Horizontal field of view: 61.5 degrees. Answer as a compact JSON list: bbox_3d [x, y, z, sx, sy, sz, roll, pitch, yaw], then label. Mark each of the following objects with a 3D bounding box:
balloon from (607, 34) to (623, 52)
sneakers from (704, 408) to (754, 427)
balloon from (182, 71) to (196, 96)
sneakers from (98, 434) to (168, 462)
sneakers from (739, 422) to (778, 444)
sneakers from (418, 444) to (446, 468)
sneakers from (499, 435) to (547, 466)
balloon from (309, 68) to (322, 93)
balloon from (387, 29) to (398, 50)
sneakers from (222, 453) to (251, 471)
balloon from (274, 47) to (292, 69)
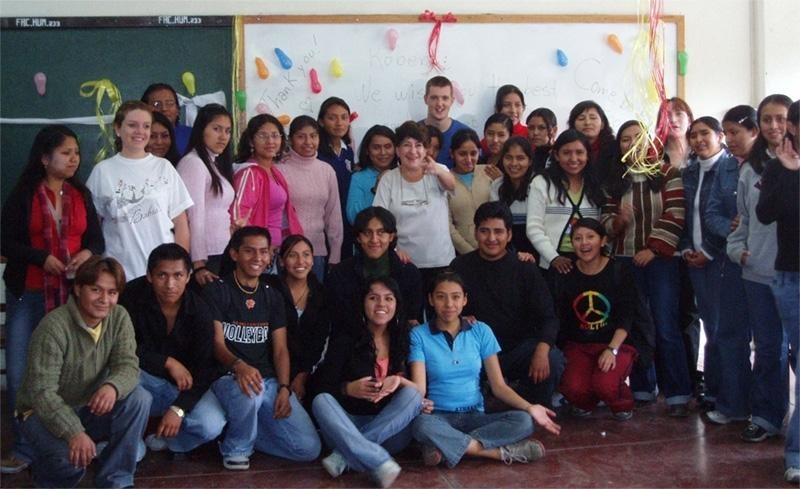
[{"bbox_3d":[1.750,-1.630,5.448,0.093,0.161,0.057,-47,-1,-28],"label":"balloon"},{"bbox_3d":[2.108,1.105,4.317,0.292,0.116,0.095,6,-3,-2],"label":"sneakers"},{"bbox_3d":[-1.660,-1.270,5.340,0.094,0.196,0.090,-18,7,-6],"label":"balloon"},{"bbox_3d":[-1.540,1.180,3.919,0.282,0.093,0.201,0,1,-7],"label":"sneakers"},{"bbox_3d":[2.139,1.136,4.017,0.250,0.099,0.086,0,-3,-7],"label":"sneakers"},{"bbox_3d":[0.180,1.199,3.809,0.120,0.133,0.045,-24,2,12],"label":"sneakers"},{"bbox_3d":[0.708,1.189,3.844,0.282,0.103,0.118,-8,4,18],"label":"sneakers"},{"bbox_3d":[-0.677,-1.308,5.363,0.098,0.185,0.062,-17,6,1],"label":"balloon"},{"bbox_3d":[-0.062,-1.640,5.368,0.089,0.142,0.033,-2,15,1],"label":"balloon"},{"bbox_3d":[-0.920,1.240,3.808,0.067,0.067,0.162,18,-26,-32],"label":"sneakers"},{"bbox_3d":[-0.936,-1.484,5.344,0.101,0.178,0.062,-40,6,18],"label":"balloon"}]
